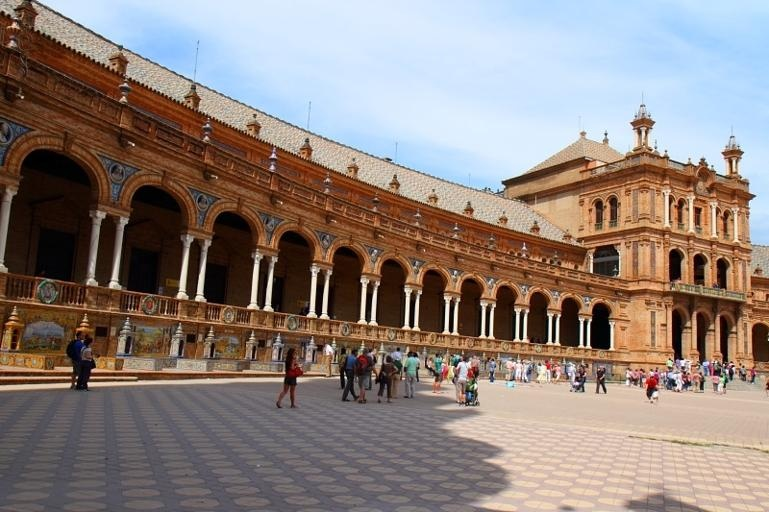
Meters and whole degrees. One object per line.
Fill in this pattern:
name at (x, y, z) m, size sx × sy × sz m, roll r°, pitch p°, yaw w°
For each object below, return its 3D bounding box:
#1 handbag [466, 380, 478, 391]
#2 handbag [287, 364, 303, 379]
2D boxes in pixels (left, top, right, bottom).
handbag at (3.301, 4.936, 26.854) m, size 0.505 × 0.404 × 0.199 m, roll 13°, pitch -16°, yaw -42°
handbag at (-2.940, 3.821, 23.235) m, size 0.262 × 0.371 × 0.647 m, roll 0°, pitch -11°, yaw 13°
